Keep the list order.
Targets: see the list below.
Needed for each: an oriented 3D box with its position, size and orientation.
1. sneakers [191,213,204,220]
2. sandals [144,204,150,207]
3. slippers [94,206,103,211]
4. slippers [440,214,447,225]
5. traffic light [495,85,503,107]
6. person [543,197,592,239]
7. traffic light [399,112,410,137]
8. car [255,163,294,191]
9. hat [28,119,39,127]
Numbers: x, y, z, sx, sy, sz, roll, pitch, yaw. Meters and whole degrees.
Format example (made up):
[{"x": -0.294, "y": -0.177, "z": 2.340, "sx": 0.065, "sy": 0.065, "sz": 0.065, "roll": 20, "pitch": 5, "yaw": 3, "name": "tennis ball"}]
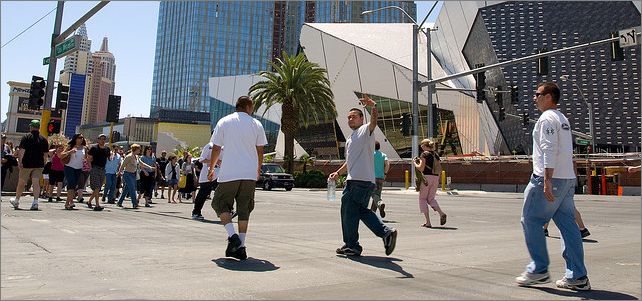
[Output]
[{"x": -5.181, "y": 2.790, "z": 18.607, "sx": 0.494, "sy": 0.187, "sz": 0.189, "roll": -1, "pitch": -5, "yaw": 26, "name": "sneakers"}, {"x": -8.720, "y": 2.724, "z": 22.161, "sx": 0.164, "sy": 0.152, "sz": 0.432, "roll": 3, "pitch": -6, "yaw": -35, "name": "sandals"}, {"x": -10.022, "y": 2.600, "z": 19.872, "sx": 0.568, "sy": 0.210, "sz": 0.175, "roll": -3, "pitch": -6, "yaw": 11, "name": "slippers"}, {"x": 5.064, "y": 2.818, "z": 18.189, "sx": 0.299, "sy": 0.480, "sz": 0.233, "roll": 3, "pitch": -5, "yaw": -7, "name": "slippers"}, {"x": 12.142, "y": -3.804, "z": 30.117, "sx": 0.428, "sy": 1.251, "sz": 1.660, "roll": 6, "pitch": 13, "yaw": 18, "name": "traffic light"}, {"x": 8.193, "y": 2.304, "z": 14.749, "sx": 1.937, "sy": 1.465, "sz": 0.429, "roll": -6, "pitch": -23, "yaw": 11, "name": "person"}, {"x": 6.596, "y": -1.918, "z": 34.132, "sx": 0.687, "sy": 1.520, "sz": 1.276, "roll": 3, "pitch": 12, "yaw": 8, "name": "traffic light"}, {"x": -3.822, "y": 2.200, "z": 37.780, "sx": 2.024, "sy": 1.470, "sz": 3.176, "roll": 3, "pitch": -8, "yaw": -33, "name": "car"}, {"x": -12.705, "y": -1.214, "z": 19.567, "sx": 0.385, "sy": 0.225, "sz": 0.483, "roll": 3, "pitch": -13, "yaw": -24, "name": "hat"}]
